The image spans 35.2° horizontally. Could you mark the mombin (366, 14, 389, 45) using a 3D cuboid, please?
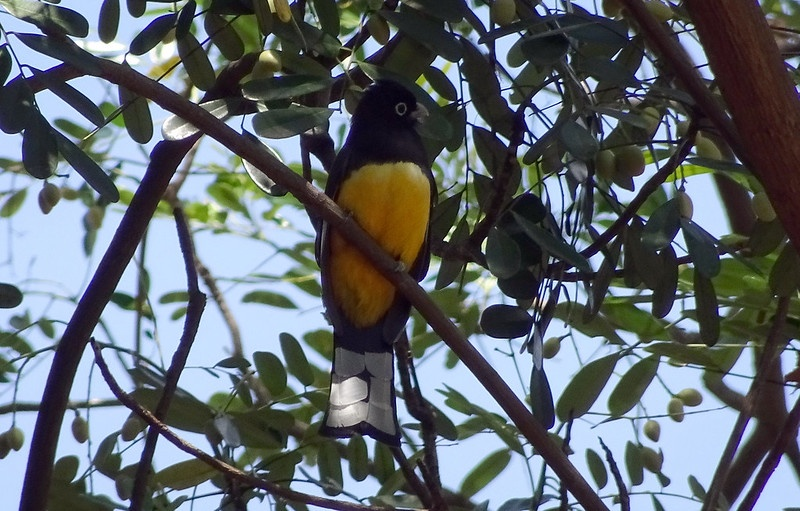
[{"bbox_3d":[-0.082,-0.817,4.551,0.086,0.113,0.163,-1,-46,-1],"label":"mombin"}]

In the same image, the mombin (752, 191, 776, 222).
[{"bbox_3d":[1.260,-0.174,4.372,0.045,0.096,0.092,-14,-17,16],"label":"mombin"}]
